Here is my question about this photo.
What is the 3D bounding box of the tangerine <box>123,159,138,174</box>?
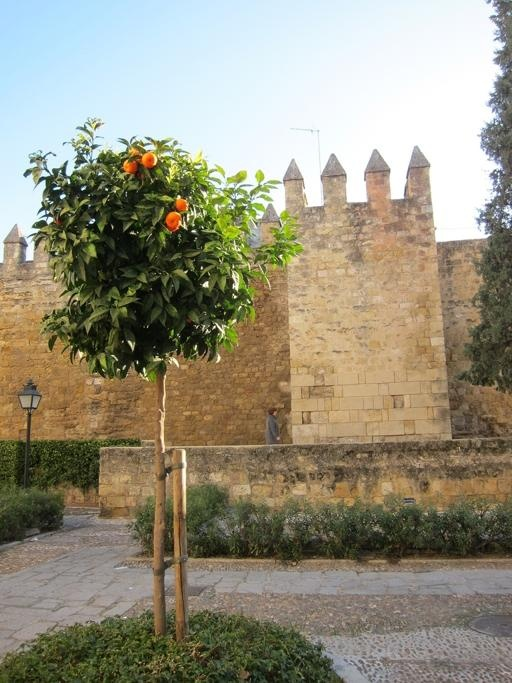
[{"bbox_3d":[-0.633,-0.882,3.092,0.069,0.066,0.078,12,-41,6],"label":"tangerine"}]

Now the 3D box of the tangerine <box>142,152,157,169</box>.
[{"bbox_3d":[-0.542,-0.910,3.087,0.067,0.066,0.066,-35,16,-10],"label":"tangerine"}]

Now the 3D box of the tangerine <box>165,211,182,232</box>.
[{"bbox_3d":[-0.420,-0.608,3.083,0.066,0.109,0.073,1,-9,-19],"label":"tangerine"}]
